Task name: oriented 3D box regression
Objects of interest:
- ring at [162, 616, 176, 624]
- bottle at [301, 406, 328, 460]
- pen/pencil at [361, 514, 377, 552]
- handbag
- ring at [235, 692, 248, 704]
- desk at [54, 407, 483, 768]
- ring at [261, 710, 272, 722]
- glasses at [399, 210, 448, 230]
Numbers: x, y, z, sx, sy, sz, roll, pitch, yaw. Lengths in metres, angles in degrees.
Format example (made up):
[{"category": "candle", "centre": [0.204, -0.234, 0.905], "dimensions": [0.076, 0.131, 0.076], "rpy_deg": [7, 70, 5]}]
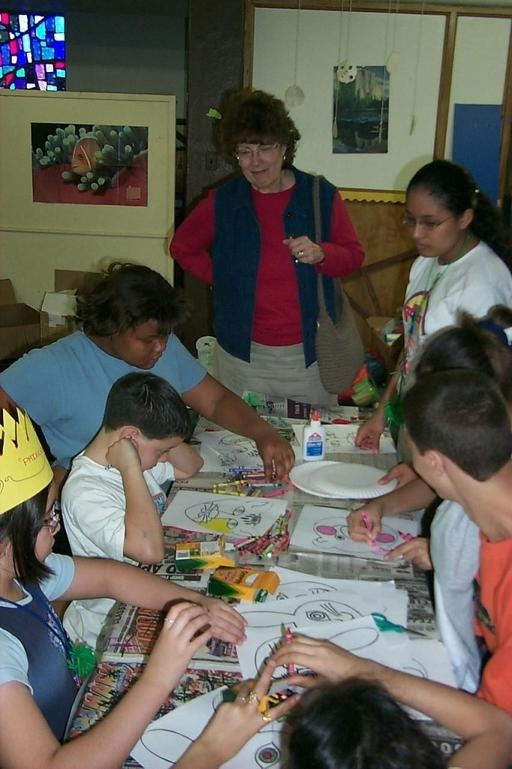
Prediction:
[{"category": "ring", "centre": [-0.145, 0.401, 1.015], "dimensions": [0.017, 0.006, 0.017], "rpy_deg": [-35, 19, 14]}, {"category": "bottle", "centre": [0.186, 0.163, 1.921], "dimensions": [0.076, 0.171, 0.042], "rpy_deg": [0, 27, 0]}, {"category": "pen/pencil", "centre": [0.274, 0.356, 1.441], "dimensions": [0.012, 0.018, 0.078], "rpy_deg": [-5, 61, -44]}, {"category": "handbag", "centre": [0.351, -0.226, 2.559], "dimensions": [0.193, 0.534, 0.109], "rpy_deg": [-5, -2, -2]}, {"category": "ring", "centre": [-0.022, 0.469, 0.895], "dimensions": [0.018, 0.009, 0.024], "rpy_deg": [0, 17, -5]}, {"category": "desk", "centre": [-0.006, 0.483, 1.448], "dimensions": [0.560, 0.189, 0.786], "rpy_deg": [7, 23, -1]}, {"category": "ring", "centre": [0.016, 0.484, 0.879], "dimensions": [0.010, 0.020, 0.010], "rpy_deg": [2, -11, 0]}, {"category": "glasses", "centre": [0.531, -0.531, 1.948], "dimensions": [0.067, 0.050, 0.183], "rpy_deg": [-5, 18, -19]}]
